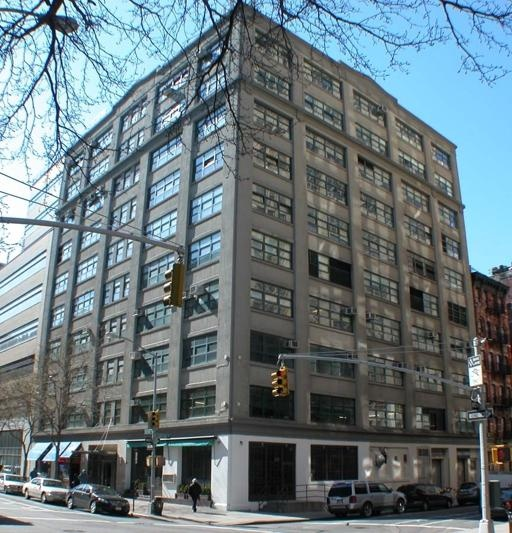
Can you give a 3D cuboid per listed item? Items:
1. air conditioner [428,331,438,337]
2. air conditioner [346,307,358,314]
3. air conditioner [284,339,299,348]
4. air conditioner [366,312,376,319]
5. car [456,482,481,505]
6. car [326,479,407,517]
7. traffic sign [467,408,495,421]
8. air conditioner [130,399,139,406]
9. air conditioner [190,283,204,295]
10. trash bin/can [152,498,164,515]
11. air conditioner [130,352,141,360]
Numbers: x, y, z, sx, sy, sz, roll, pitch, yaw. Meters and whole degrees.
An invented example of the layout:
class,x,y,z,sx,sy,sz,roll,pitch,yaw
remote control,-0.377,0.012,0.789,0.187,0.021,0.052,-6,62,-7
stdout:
class,x,y,z,sx,sy,sz,roll,pitch,yaw
air conditioner,16.990,6.552,50.206,0.434,0.470,0.770,2,-2,-5
air conditioner,7.804,3.664,42.836,0.624,0.529,0.621,-4,-16,32
air conditioner,2.623,5.695,37.820,0.559,0.672,0.975,-5,-11,31
air conditioner,9.717,4.225,44.228,0.537,0.690,0.734,-2,-4,32
car,15.933,17.211,39.228,1.572,1.623,2.625,-8,-25,18
car,6.275,13.820,30.821,5.537,1.916,2.819,20,-30,-36
traffic sign,8.292,5.526,19.305,0.735,0.476,1.487,-2,-24,6
air conditioner,-9.919,11.109,42.337,0.871,0.593,0.523,-15,-26,35
air conditioner,-4.345,1.721,38.430,1.205,0.797,0.588,-20,-32,38
trash bin/can,-5.335,12.964,27.949,0.566,0.858,0.921,7,-25,-13
air conditioner,-9.781,7.324,42.307,0.689,0.583,0.672,19,-33,-41
